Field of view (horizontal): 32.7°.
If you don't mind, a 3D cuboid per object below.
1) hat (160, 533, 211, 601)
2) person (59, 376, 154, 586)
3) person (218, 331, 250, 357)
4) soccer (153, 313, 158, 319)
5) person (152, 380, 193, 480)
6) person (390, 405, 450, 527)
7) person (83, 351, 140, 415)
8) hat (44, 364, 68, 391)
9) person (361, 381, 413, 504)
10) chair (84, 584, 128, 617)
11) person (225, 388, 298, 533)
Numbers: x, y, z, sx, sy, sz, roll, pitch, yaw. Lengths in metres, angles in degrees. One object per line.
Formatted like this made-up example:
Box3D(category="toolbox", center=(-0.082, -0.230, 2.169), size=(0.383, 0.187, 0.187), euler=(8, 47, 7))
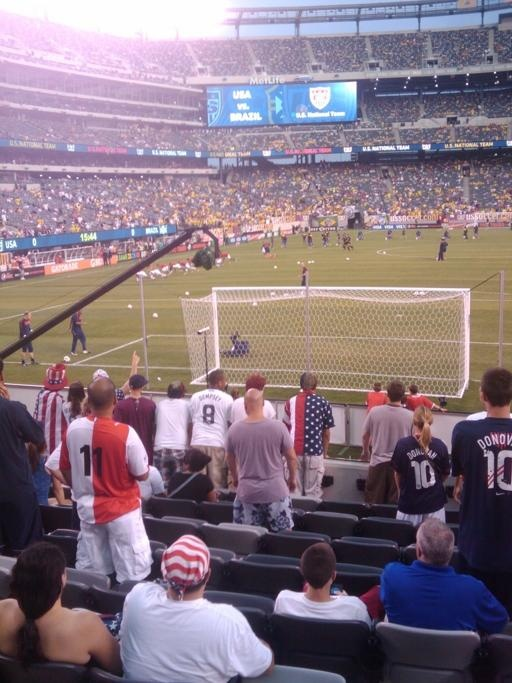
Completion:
Box3D(category="hat", center=(-0.327, 1.087, 4.253), size=(0.200, 0.274, 0.275), euler=(-3, -4, 12))
Box3D(category="person", center=(-1.021, 1.047, 6.123), size=(0.624, 1.834, 0.552), euler=(5, 25, 6))
Box3D(category="person", center=(-0.437, 0.099, 18.258), size=(0.524, 0.458, 1.657), euler=(-1, 1, -3))
Box3D(category="soccer", center=(-2.857, -0.741, 24.945), size=(0.182, 0.114, 0.179), euler=(0, -2, -33))
Box3D(category="person", center=(-0.839, 0.967, 8.804), size=(0.337, 1.205, 0.315), euler=(7, 20, 4))
Box3D(category="person", center=(1.273, 0.970, 6.725), size=(0.431, 0.960, 0.489), euler=(-1, 1, 11))
Box3D(category="person", center=(-1.809, 0.489, 11.035), size=(0.344, 0.664, 1.119), euler=(3, 17, -1))
Box3D(category="hat", center=(-2.252, 0.426, 9.780), size=(0.259, 0.176, 0.381), euler=(4, 30, -6))
Box3D(category="person", center=(1.277, 1.083, 8.450), size=(0.495, 1.521, 0.382), euler=(3, 20, 4))
Box3D(category="chair", center=(-0.874, 1.522, 5.104), size=(0.200, 0.191, 0.164), euler=(1, -1, 5))
Box3D(category="person", center=(0.048, 0.962, 6.925), size=(0.546, 1.178, 0.581), euler=(-1, 1, -2))
